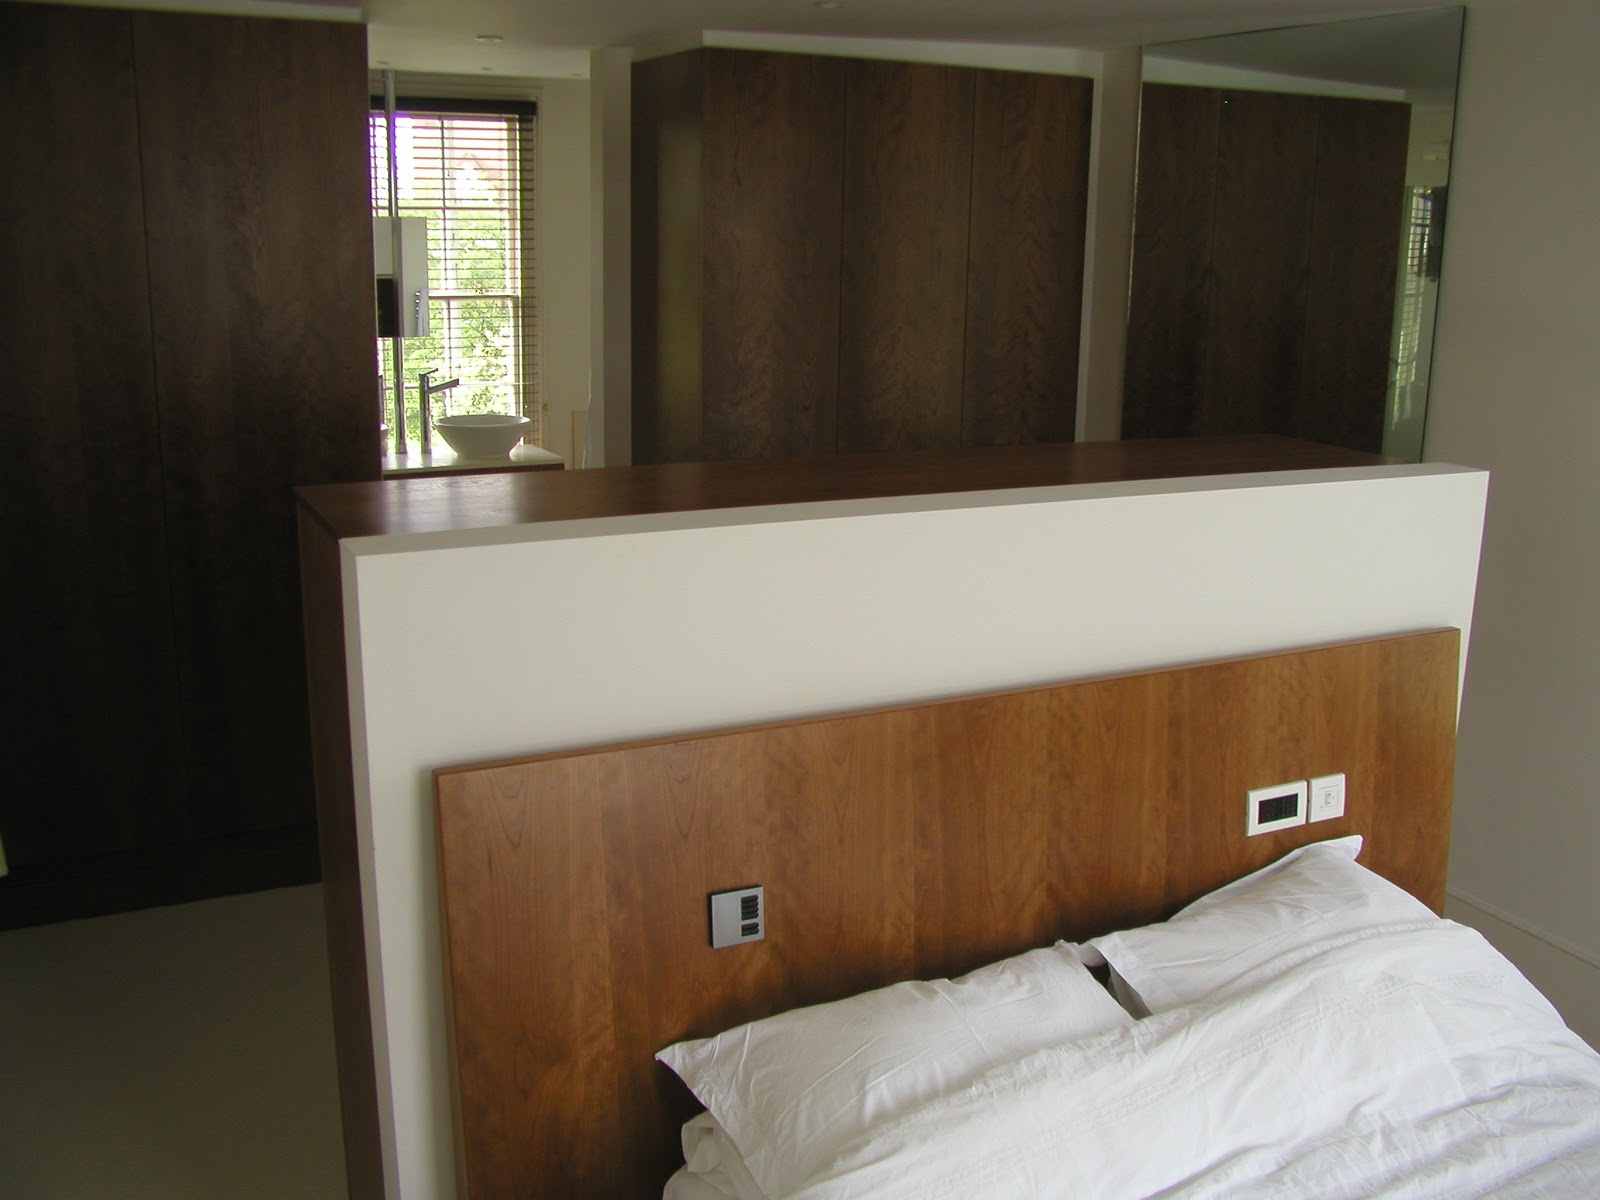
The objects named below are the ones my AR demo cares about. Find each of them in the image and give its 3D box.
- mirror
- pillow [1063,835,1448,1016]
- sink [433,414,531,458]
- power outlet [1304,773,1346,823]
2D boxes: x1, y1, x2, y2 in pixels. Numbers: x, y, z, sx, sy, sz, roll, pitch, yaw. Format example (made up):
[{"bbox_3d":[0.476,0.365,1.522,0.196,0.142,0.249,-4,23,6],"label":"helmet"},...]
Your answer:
[{"bbox_3d":[1.574,-1.162,3.865,0.117,1.720,1.328,-7,10,-38],"label":"mirror"},{"bbox_3d":[0.858,0.622,2.342,0.508,0.153,0.326,-22,24,-15],"label":"pillow"},{"bbox_3d":[-1.469,-0.747,5.704,0.380,0.181,0.479,-8,13,-22],"label":"sink"},{"bbox_3d":[1.147,0.433,2.729,0.092,0.106,0.013,-7,13,-23],"label":"power outlet"}]
